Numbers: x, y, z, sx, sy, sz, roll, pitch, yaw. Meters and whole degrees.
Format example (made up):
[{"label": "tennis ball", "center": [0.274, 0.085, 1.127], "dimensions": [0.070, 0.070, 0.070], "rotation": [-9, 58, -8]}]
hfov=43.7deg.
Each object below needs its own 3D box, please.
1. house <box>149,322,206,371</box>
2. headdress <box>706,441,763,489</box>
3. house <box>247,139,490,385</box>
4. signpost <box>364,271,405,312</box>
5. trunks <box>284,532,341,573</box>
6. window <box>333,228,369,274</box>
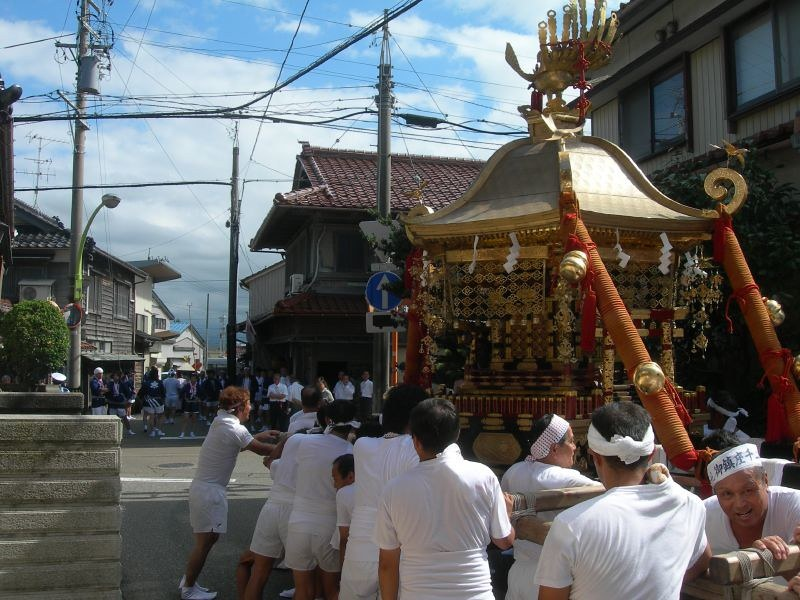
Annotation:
[{"label": "house", "center": [-13.454, 2.781, 59.763], "dimensions": [4.413, 2.770, 4.511], "rotation": [0, 1, -13]}, {"label": "headdress", "center": [2.652, 1.275, 7.957], "dimensions": [0.338, 0.176, 0.344], "rotation": [-16, -14, 4]}, {"label": "house", "center": [-1.449, -1.071, 27.254], "dimensions": [6.664, 5.100, 6.279], "rotation": [0, -1, -12]}, {"label": "signpost", "center": [-0.188, -0.126, 13.896], "dimensions": [0.491, 0.500, 0.064], "rotation": [-25, 22, -34]}, {"label": "trunks", "center": [-0.863, 2.400, 9.601], "dimensions": [0.575, 0.426, 0.377], "rotation": [2, 4, 3]}, {"label": "window", "center": [-1.289, -1.279, 25.058], "dimensions": [1.093, 1.362, 0.149], "rotation": [3, -3, -16]}]
